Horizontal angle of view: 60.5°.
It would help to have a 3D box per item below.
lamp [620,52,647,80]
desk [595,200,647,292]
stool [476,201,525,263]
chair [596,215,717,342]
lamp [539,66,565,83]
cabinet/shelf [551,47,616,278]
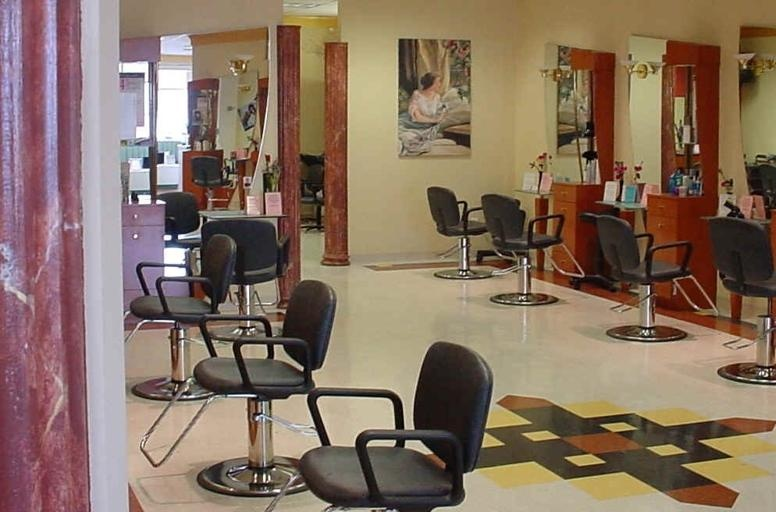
[{"bbox_3d":[2.792,-2.116,7.491,0.341,0.215,0.243,-3,8,-35],"label":"lamp"},{"bbox_3d":[2.135,0.034,5.822,0.432,0.629,0.417,-19,23,-26],"label":"desk"},{"bbox_3d":[1.360,-0.220,7.267,0.519,0.639,0.485,-3,8,20],"label":"stool"},{"bbox_3d":[2.288,0.198,5.946,0.809,1.051,0.731,-4,7,-24],"label":"chair"},{"bbox_3d":[2.121,-2.344,8.627,0.286,0.138,0.172,-3,8,-8],"label":"lamp"},{"bbox_3d":[2.614,-1.111,8.413,0.749,2.764,0.681,-1,9,24],"label":"cabinet/shelf"}]
